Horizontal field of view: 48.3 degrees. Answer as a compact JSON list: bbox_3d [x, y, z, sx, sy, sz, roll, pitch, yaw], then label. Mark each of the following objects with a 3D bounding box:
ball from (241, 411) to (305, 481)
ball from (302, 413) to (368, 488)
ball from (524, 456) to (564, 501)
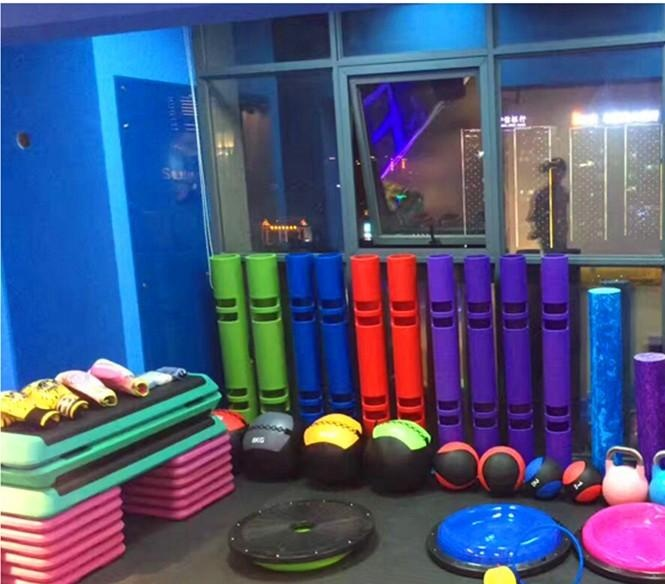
[{"bbox_3d":[-0.378,0.988,4.766,0.305,0.364,0.436,-2,-4,3],"label":"ball"},{"bbox_3d":[0.008,0.975,4.678,0.372,0.422,0.306,-3,4,16],"label":"ball"},{"bbox_3d":[1.201,1.065,4.256,0.203,0.256,0.210,-2,-9,0],"label":"ball"}]
